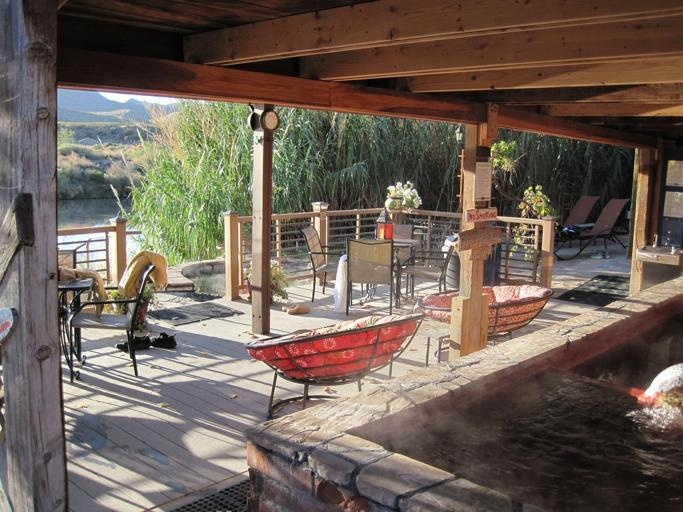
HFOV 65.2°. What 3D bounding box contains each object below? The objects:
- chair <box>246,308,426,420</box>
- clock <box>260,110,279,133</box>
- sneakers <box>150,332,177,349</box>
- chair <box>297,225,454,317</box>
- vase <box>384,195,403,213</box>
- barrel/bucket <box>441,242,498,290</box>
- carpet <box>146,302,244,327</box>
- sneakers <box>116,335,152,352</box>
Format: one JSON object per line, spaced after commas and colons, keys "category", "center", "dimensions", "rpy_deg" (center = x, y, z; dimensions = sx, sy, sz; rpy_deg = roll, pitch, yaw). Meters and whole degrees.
{"category": "chair", "center": [-0.075, 0.815, 4.141], "dimensions": [1.389, 0.918, 1.404], "rpy_deg": [3, -1, 4]}
{"category": "clock", "center": [-0.733, -1.430, 5.610], "dimensions": [0.108, 0.218, 0.275], "rpy_deg": [8, 13, 29]}
{"category": "sneakers", "center": [-1.945, 0.906, 5.722], "dimensions": [0.344, 0.140, 0.122], "rpy_deg": [4, 0, 10]}
{"category": "chair", "center": [0.441, 0.140, 7.218], "dimensions": [1.546, 0.669, 1.488], "rpy_deg": [-7, 11, -36]}
{"category": "vase", "center": [0.823, -0.826, 8.240], "dimensions": [0.271, 0.254, 0.371], "rpy_deg": [3, 11, 5]}
{"category": "barrel/bucket", "center": [1.803, 0.199, 7.536], "dimensions": [0.683, 0.724, 0.705], "rpy_deg": [-1, 14, 0]}
{"category": "carpet", "center": [-1.925, 0.721, 6.881], "dimensions": [1.035, 0.037, 0.838], "rpy_deg": [-7, 14, -39]}
{"category": "sneakers", "center": [-2.227, 0.907, 5.643], "dimensions": [0.511, 0.191, 0.181], "rpy_deg": [0, 0, -6]}
